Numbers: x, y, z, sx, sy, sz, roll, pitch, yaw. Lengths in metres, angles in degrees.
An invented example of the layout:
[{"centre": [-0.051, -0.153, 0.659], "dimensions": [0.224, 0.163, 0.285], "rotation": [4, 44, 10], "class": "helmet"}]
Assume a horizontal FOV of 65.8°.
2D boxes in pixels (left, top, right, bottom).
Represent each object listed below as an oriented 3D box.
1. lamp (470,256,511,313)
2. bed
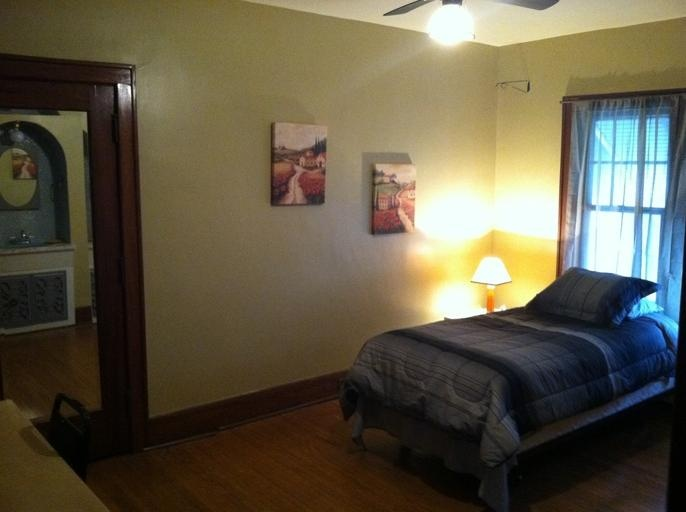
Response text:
[{"centre": [1.519, 0.320, 5.396], "dimensions": [0.375, 0.652, 0.558], "rotation": [4, 14, 17], "class": "lamp"}, {"centre": [1.372, 0.751, 3.885], "dimensions": [2.195, 0.715, 1.243], "rotation": [-1, 2, -36], "class": "bed"}]
